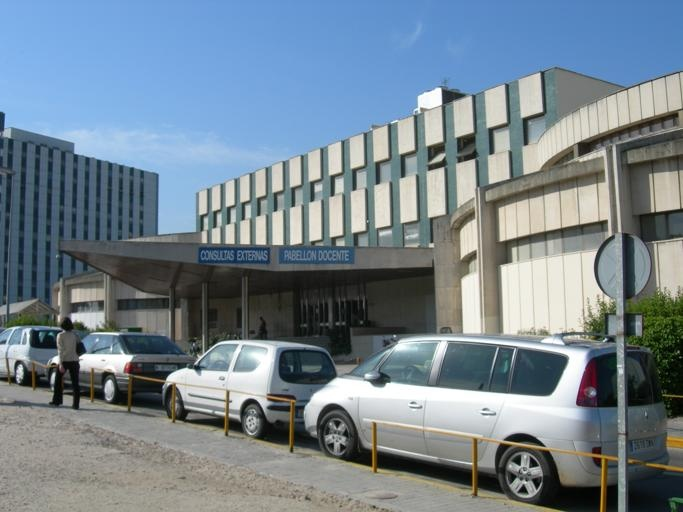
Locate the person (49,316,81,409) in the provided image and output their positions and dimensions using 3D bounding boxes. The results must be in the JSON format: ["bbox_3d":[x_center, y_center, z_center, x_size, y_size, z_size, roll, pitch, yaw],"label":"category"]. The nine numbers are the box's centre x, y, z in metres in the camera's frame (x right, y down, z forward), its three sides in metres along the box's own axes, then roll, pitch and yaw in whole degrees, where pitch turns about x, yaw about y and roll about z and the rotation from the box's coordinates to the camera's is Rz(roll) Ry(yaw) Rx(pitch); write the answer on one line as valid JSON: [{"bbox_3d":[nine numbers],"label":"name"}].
[{"bbox_3d":[-6.133,2.409,15.142,0.599,1.987,0.968,6,-10,-23],"label":"person"}]

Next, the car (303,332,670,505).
[{"bbox_3d":[2.012,2.286,9.922,4.558,2.280,1.402,-5,-12,36],"label":"car"}]

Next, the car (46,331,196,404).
[{"bbox_3d":[-5.872,2.875,17.359,1.766,1.428,3.728,7,-7,-44],"label":"car"}]
